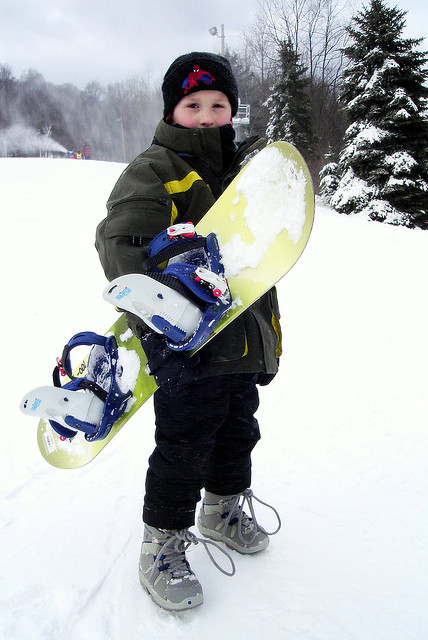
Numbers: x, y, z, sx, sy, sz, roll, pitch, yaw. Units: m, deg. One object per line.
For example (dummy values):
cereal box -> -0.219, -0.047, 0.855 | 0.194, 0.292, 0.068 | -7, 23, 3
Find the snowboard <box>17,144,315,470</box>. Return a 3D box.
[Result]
snowboard -> -0.165, -0.023, 1.603 | 0.296, 1.240, 0.391 | 30, 20, -48

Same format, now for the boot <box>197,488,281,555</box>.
boot -> 0.069, 0.687, 1.844 | 0.281, 0.220, 0.136 | 7, 8, 39

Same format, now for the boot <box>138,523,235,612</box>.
boot -> -0.135, 0.733, 1.554 | 0.191, 0.176, 0.194 | -2, 15, -3
